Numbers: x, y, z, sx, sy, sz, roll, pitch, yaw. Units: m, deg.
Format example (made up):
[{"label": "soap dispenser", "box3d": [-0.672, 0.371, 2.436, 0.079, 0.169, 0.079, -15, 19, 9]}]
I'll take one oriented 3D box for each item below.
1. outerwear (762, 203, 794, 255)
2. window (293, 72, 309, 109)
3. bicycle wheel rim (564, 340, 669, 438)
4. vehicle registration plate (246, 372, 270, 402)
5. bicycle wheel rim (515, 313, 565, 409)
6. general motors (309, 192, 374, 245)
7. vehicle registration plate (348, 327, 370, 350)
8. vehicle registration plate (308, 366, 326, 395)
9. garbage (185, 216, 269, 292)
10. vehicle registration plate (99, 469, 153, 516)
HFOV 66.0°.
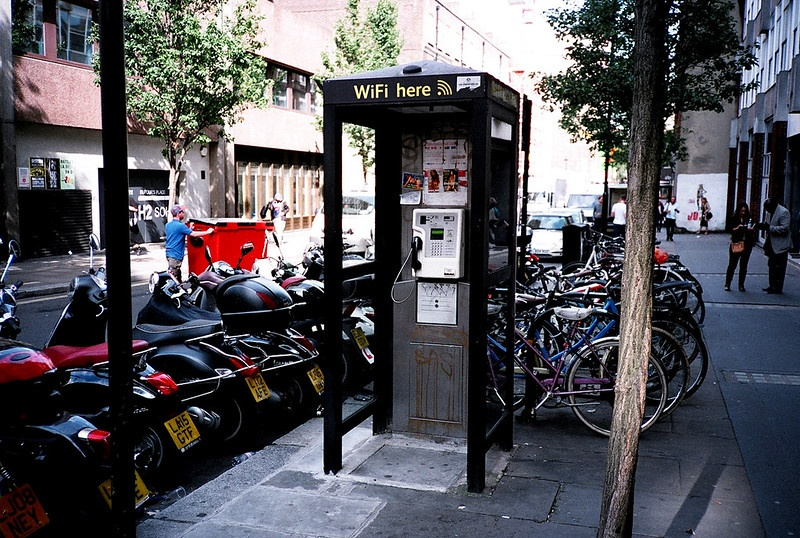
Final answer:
[{"label": "outerwear", "box3d": [8.574, -0.885, 13.925, 0.471, 1.143, 0.526, 3, 9, 31]}, {"label": "window", "box3d": [-5.513, -9.907, 34.085, 0.215, 2.264, 1.928, 8, 10, 24]}, {"label": "bicycle wheel rim", "box3d": [2.387, 1.158, 6.716, 0.972, 1.035, 1.301, 2, 8, 24]}, {"label": "vehicle registration plate", "box3d": [-1.473, 1.233, 6.407, 0.067, 0.260, 0.286, -18, 12, 21]}, {"label": "bicycle wheel rim", "box3d": [1.559, 1.047, 6.799, 0.547, 1.240, 0.836, 1, 8, 15]}, {"label": "general motors", "box3d": [-1.610, -1.544, 19.071, 1.575, 1.339, 2.753, 0, 0, 6]}, {"label": "vehicle registration plate", "box3d": [-0.501, 0.834, 7.381, 0.028, 0.210, 0.276, -21, 7, 19]}, {"label": "vehicle registration plate", "box3d": [-0.963, 1.267, 7.138, 0.104, 0.375, 0.390, -12, 16, -20]}, {"label": "garbage", "box3d": [-3.421, -0.366, 12.146, 1.326, 2.021, 1.438, 5, 4, 42]}, {"label": "vehicle registration plate", "box3d": [-2.094, 1.669, 4.710, 0.347, 0.082, 0.355, -43, -5, 30]}]
